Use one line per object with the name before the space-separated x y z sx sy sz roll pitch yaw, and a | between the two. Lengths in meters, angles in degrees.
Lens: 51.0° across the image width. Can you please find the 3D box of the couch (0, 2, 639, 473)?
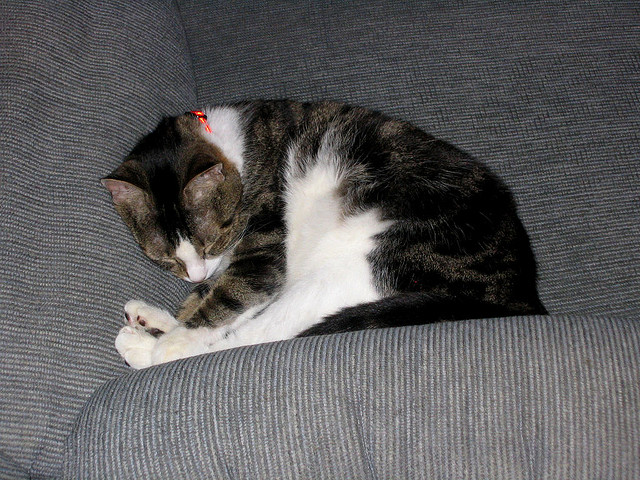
couch | 0.075 -0.169 2.009 2.017 0.560 1.602 -1 75 1
